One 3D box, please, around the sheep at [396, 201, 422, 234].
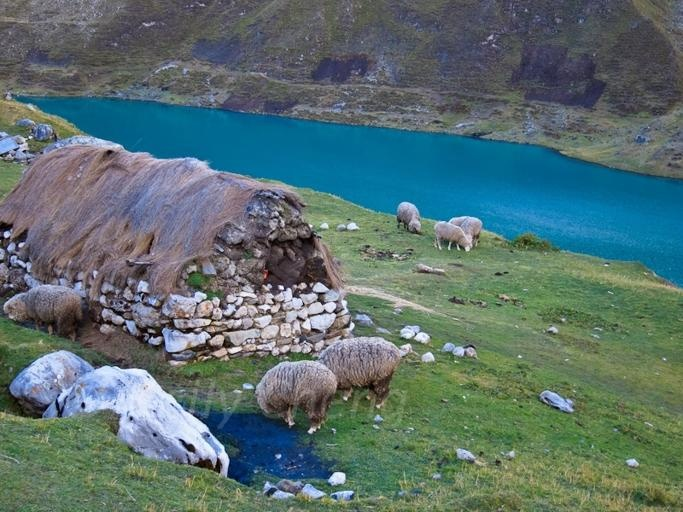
[{"bbox_3d":[4.828,-2.520,43.703,1.492,1.999,3.056,-3,25,-12],"label":"sheep"}]
